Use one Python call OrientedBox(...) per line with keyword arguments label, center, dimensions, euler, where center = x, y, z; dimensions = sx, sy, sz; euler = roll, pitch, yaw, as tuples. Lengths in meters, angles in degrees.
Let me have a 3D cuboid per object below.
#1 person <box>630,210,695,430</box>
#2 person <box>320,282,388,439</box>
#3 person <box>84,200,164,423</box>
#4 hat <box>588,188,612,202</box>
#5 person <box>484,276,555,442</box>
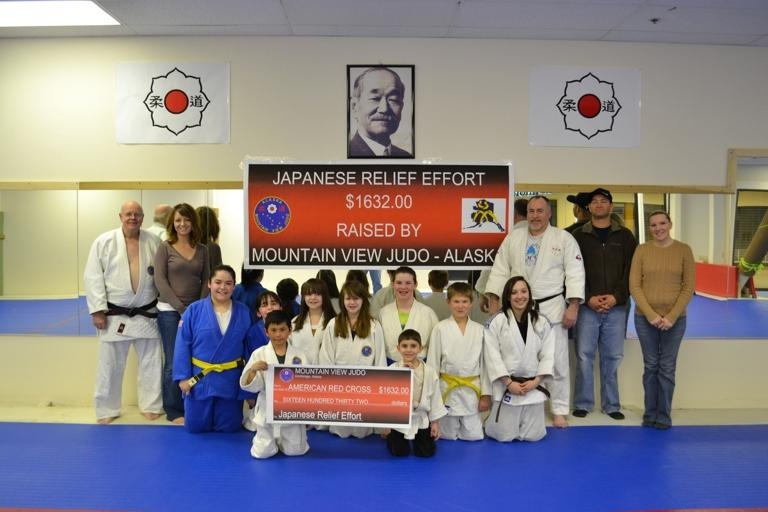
OrientedBox(label="person", center=(3.119, 0.838, 7.820), dimensions=(0.678, 2.146, 0.430), euler=(3, 4, 22))
OrientedBox(label="person", center=(-0.325, 0.728, 7.520), dimensions=(0.711, 0.909, 0.228), euler=(1, 4, -6))
OrientedBox(label="person", center=(-2.967, 0.781, 7.930), dimensions=(0.837, 2.185, 0.491), euler=(0, 4, -24))
OrientedBox(label="hat", center=(2.563, -0.717, 8.163), dimensions=(0.270, 0.177, 0.345), euler=(3, 3, 15))
OrientedBox(label="person", center=(1.468, 1.110, 7.496), dimensions=(0.733, 1.770, 0.343), euler=(3, 4, 13))
